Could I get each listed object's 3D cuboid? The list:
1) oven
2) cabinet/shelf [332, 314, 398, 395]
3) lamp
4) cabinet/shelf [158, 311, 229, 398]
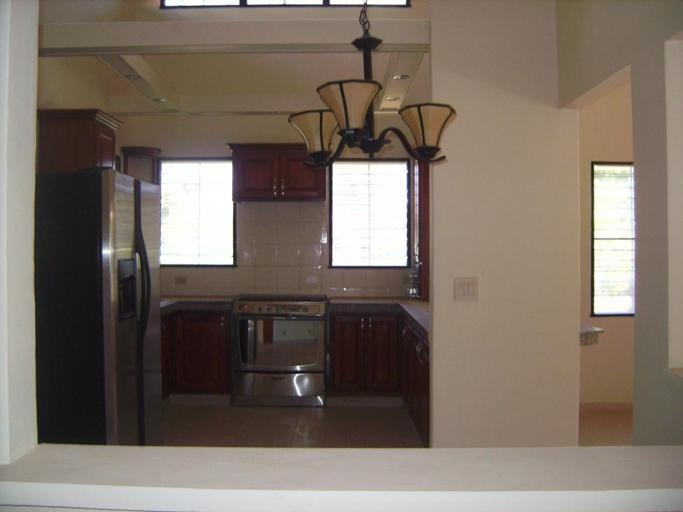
[{"bbox_3d":[-0.457,0.850,5.303,0.852,0.920,0.626,0,-7,0],"label":"oven"},{"bbox_3d":[0.204,0.789,5.077,0.556,0.724,0.359,0,-3,1],"label":"cabinet/shelf"},{"bbox_3d":[0.138,-0.868,3.063,0.772,0.877,0.529,1,-3,-10],"label":"lamp"},{"bbox_3d":[-1.164,0.761,5.075,0.531,0.684,0.162,1,-3,-15],"label":"cabinet/shelf"}]
